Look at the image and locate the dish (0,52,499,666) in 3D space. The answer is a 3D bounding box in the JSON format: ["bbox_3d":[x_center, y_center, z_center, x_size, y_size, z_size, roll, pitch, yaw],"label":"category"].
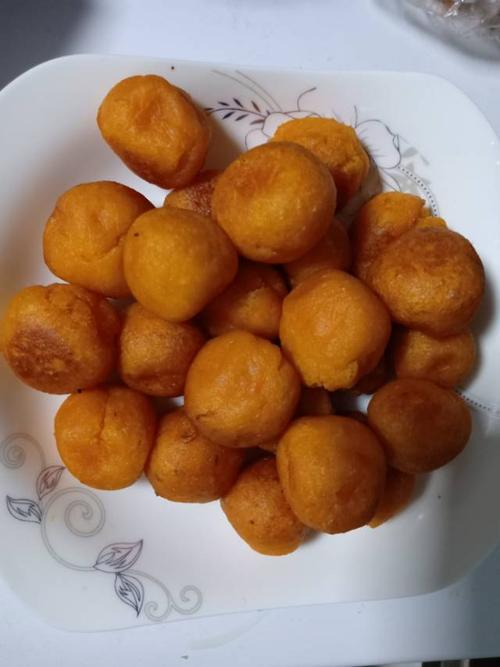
[{"bbox_3d":[0.034,0.086,0.971,0.852,0.176,0.667,-2,89,-5],"label":"dish"}]
